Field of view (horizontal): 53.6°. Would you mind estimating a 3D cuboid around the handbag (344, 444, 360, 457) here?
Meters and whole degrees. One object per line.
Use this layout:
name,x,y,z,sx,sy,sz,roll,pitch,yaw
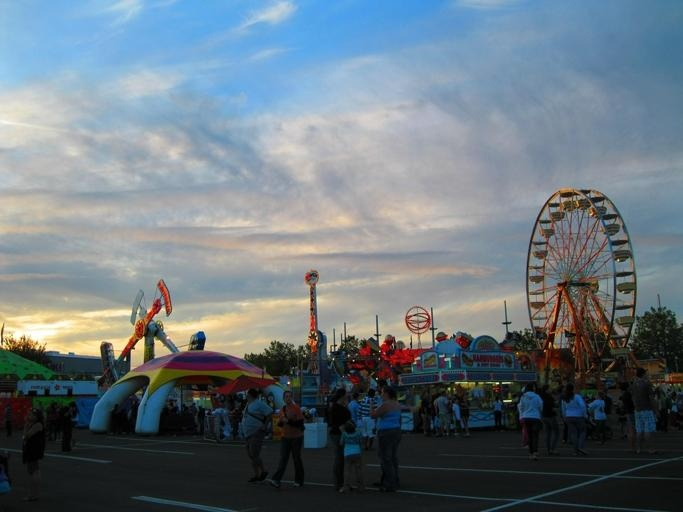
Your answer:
handbag,0.223,4.128,14.419,0.257,0.162,0.255,5,-9,-6
